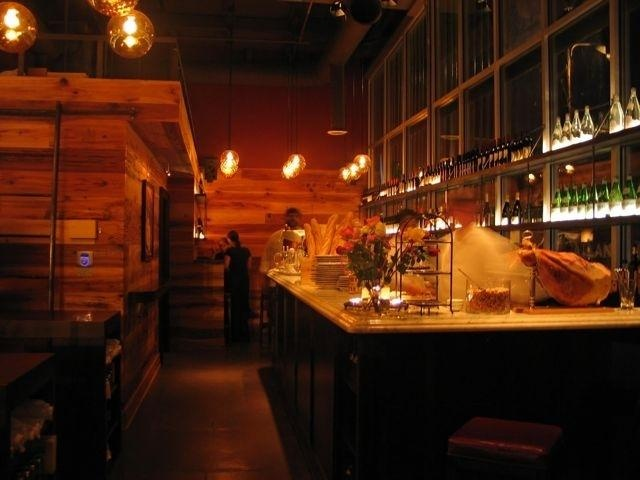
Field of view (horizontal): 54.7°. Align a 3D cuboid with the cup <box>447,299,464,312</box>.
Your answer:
[{"bbox_3d":[0.769,0.367,3.507,0.084,0.065,0.087,1,1,0],"label":"cup"}]

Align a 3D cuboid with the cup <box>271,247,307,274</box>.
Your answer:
[{"bbox_3d":[-0.337,0.220,6.618,0.402,0.426,0.250,2,-3,2],"label":"cup"}]

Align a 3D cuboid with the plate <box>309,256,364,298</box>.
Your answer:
[{"bbox_3d":[0.128,0.261,4.679,0.284,0.238,0.628,-1,3,-14],"label":"plate"}]

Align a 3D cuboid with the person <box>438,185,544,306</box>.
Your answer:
[{"bbox_3d":[1.153,-0.012,4.388,0.591,0.712,1.918,0,3,11],"label":"person"}]

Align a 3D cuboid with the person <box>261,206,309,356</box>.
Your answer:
[{"bbox_3d":[-0.515,0.464,8.424,0.741,1.811,0.615,9,8,0],"label":"person"}]

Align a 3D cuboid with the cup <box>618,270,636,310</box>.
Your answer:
[{"bbox_3d":[1.775,0.280,3.571,0.095,0.221,0.187,1,3,26],"label":"cup"}]

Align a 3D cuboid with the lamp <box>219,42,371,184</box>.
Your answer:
[{"bbox_3d":[-0.353,-2.181,10.590,2.485,1.869,1.257,-1,3,-5],"label":"lamp"}]
